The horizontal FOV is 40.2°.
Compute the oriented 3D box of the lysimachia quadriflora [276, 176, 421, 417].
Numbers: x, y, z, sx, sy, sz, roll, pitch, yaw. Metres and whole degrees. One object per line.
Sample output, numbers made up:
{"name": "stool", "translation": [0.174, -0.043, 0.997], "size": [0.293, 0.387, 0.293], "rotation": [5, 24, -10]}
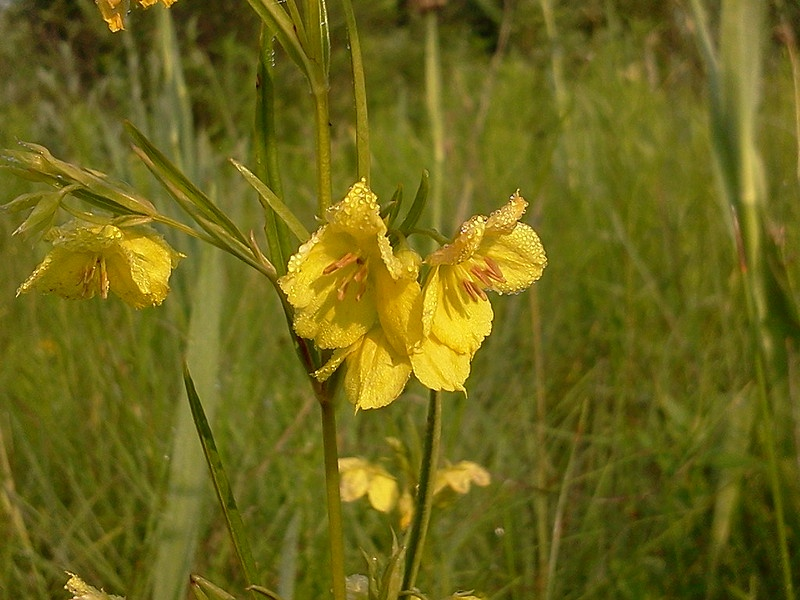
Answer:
{"name": "lysimachia quadriflora", "translation": [-0.073, -0.003, 1.808], "size": [0.291, 0.349, 0.170], "rotation": [0, 19, 10]}

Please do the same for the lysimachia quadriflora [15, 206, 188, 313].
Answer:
{"name": "lysimachia quadriflora", "translation": [-0.523, -0.062, 1.927], "size": [0.271, 0.162, 0.122], "rotation": [-1, 30, 5]}

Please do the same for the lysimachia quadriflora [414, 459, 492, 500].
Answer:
{"name": "lysimachia quadriflora", "translation": [0.122, 0.372, 2.265], "size": [0.088, 0.033, 0.088], "rotation": [-12, -3, -37]}

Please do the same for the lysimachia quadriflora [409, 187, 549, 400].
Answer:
{"name": "lysimachia quadriflora", "translation": [0.113, -0.033, 1.864], "size": [0.286, 0.223, 0.287], "rotation": [-29, 15, -9]}
